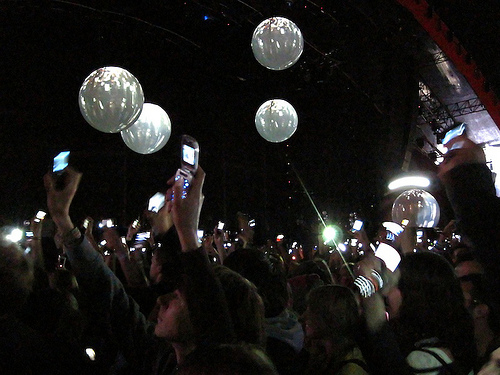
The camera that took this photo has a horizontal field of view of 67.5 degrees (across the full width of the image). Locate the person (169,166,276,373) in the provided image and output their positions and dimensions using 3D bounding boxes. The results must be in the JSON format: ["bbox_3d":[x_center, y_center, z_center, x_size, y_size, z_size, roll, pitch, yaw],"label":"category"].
[{"bbox_3d":[-0.235,0.492,2.542,0.827,1.354,0.765,7,-22,-3],"label":"person"}]

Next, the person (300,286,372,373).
[{"bbox_3d":[0.826,1.299,3.460,0.417,0.777,0.642,16,-25,-24],"label":"person"}]

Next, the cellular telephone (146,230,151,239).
[{"bbox_3d":[-2.168,1.003,8.000,0.030,0.327,0.155,-6,0,-38],"label":"cellular telephone"}]

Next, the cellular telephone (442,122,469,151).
[{"bbox_3d":[1.539,-0.368,2.784,0.063,0.236,0.164,26,-11,-19],"label":"cellular telephone"}]

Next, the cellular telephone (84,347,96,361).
[{"bbox_3d":[-1.328,1.377,3.113,0.087,0.094,0.239,9,-25,-8],"label":"cellular telephone"}]

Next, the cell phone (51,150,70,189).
[{"bbox_3d":[-1.647,-0.215,3.278,0.132,0.268,0.028,-14,-46,-13],"label":"cell phone"}]
